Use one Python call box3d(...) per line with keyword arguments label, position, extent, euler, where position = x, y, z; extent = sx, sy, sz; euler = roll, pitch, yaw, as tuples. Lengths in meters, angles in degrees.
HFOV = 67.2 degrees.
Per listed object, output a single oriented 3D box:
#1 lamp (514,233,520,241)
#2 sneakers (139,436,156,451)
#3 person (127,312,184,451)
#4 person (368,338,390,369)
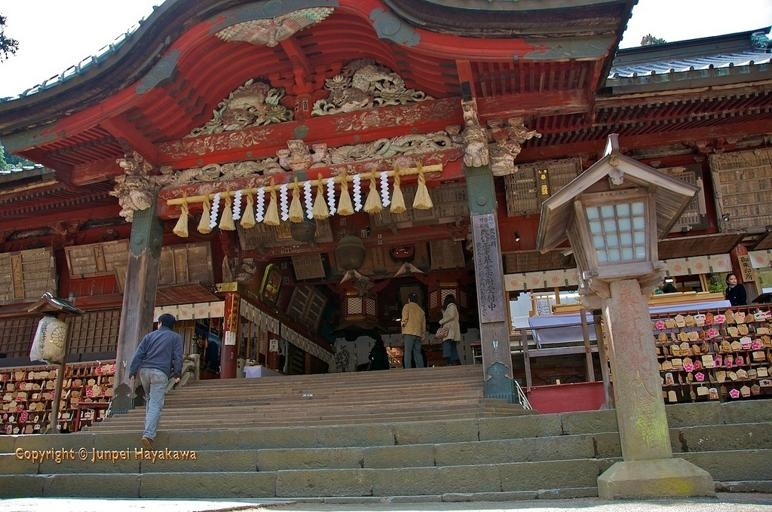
box3d(label="lamp", position=(2.871, -0.414, 12.798), extent=(0.124, 0.170, 0.101), euler=(-5, -17, 3))
box3d(label="sneakers", position=(-3.443, 2.727, 8.417), extent=(0.163, 0.197, 0.143), euler=(0, -17, -13))
box3d(label="person", position=(-3.498, 1.860, 8.915), extent=(0.824, 2.047, 0.576), euler=(-4, -18, -1))
box3d(label="person", position=(-0.221, 3.164, 19.001), extent=(0.604, 1.096, 0.826), euler=(3, -18, -21))
